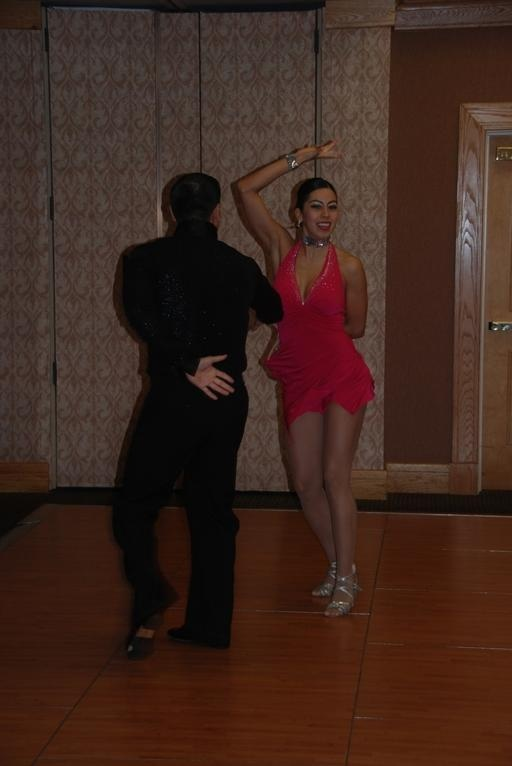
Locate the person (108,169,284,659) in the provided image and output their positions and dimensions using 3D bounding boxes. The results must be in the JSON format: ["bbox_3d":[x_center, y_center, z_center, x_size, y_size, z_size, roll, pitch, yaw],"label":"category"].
[{"bbox_3d":[-0.155,0.113,1.864,0.457,1.382,0.339,0,0,-27],"label":"person"}]
